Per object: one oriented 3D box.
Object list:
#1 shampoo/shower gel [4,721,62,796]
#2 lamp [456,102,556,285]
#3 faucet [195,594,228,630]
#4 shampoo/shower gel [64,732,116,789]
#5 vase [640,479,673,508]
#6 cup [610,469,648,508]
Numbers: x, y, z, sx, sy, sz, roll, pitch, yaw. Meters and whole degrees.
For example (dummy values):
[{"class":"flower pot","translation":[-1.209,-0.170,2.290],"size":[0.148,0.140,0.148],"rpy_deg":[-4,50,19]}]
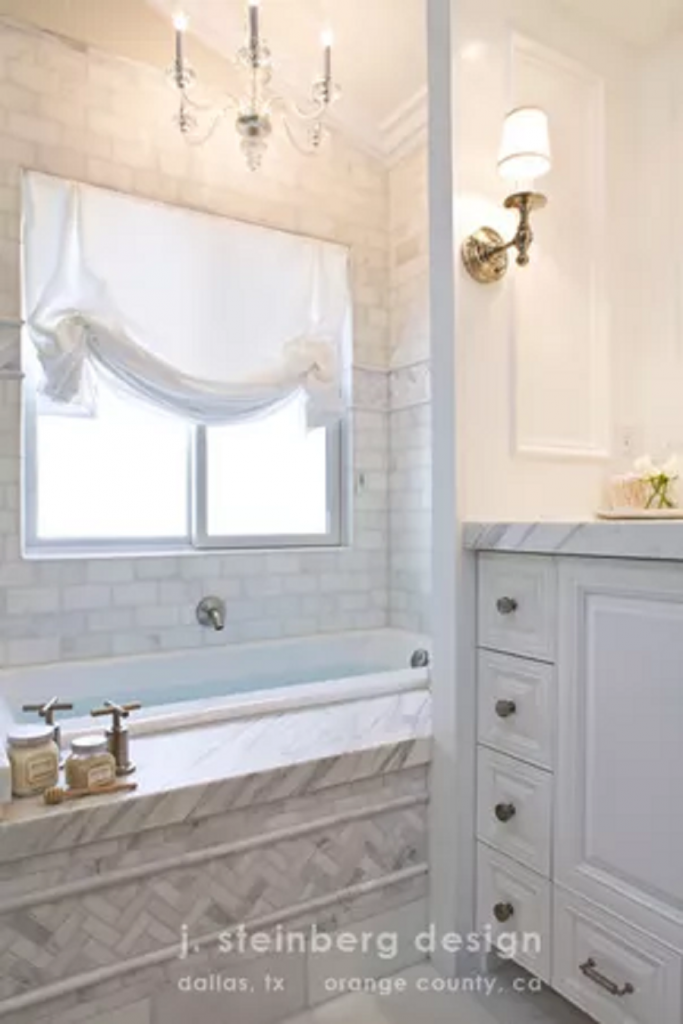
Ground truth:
[{"class":"shampoo/shower gel","translation":[-0.544,0.435,1.394],"size":[0.103,0.139,0.099],"rpy_deg":[-4,7,-36]},{"class":"lamp","translation":[0.366,-0.692,1.719],"size":[0.173,0.415,0.332],"rpy_deg":[4,4,14]},{"class":"faucet","translation":[-0.474,0.371,2.872],"size":[0.124,0.129,0.073],"rpy_deg":[0,-8,-36]},{"class":"shampoo/shower gel","translation":[-0.454,0.444,1.450],"size":[0.084,0.105,0.075],"rpy_deg":[-2,3,-40]},{"class":"vase","translation":[0.708,-0.031,1.754],"size":[0.038,0.062,0.063],"rpy_deg":[5,12,26]},{"class":"cup","translation":[0.665,-0.051,1.809],"size":[0.073,0.075,0.072],"rpy_deg":[-1,0,0]}]
